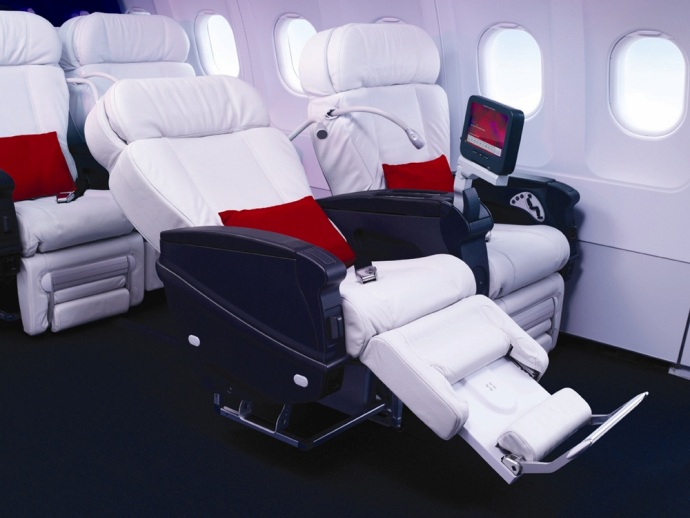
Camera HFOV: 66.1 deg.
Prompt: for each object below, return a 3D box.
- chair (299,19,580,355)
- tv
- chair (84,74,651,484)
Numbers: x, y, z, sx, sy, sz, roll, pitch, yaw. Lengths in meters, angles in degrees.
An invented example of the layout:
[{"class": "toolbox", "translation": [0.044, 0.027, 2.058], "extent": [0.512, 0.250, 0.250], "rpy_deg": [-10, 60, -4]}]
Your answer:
[{"class": "chair", "translation": [0.539, -0.327, 2.923], "extent": [1.335, 1.912, 1.407], "rpy_deg": [-5, 15, -1]}, {"class": "tv", "translation": [0.584, -0.502, 2.161], "extent": [0.076, 0.281, 0.325], "rpy_deg": [-12, 26, -22]}, {"class": "chair", "translation": [0.007, 0.001, 2.359], "extent": [2.165, 1.565, 1.318], "rpy_deg": [10, 17, 29]}]
